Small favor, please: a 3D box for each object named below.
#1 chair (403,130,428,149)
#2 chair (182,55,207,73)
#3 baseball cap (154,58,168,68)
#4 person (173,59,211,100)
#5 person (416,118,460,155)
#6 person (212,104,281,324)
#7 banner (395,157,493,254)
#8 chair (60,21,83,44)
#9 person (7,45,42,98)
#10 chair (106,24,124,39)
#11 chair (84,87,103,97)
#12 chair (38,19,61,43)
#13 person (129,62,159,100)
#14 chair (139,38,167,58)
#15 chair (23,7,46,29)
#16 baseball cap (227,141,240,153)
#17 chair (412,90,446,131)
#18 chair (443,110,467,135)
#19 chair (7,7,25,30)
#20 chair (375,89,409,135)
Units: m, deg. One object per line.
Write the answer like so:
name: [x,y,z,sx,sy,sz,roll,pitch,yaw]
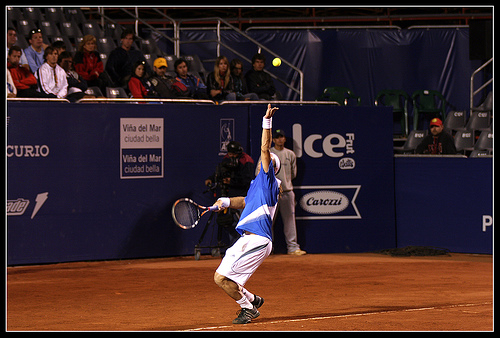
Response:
chair: [5.208,-0.939,21.819,0.607,0.758,0.643,0,-11,20]
chair: [-1.890,-3.494,23.056,0.730,0.545,1.213,-3,10,-14]
baseball cap: [-2.591,-3.034,19.793,0.340,0.273,0.288,-2,11,-11]
person: [-1.761,-2.605,20.062,0.954,1.108,3.025,0,10,-1]
person: [5.366,-0.906,19.793,1.024,0.982,0.488,3,11,16]
person: [0.015,0.968,13.677,1.379,4.285,0.552,-10,14,-41]
banner: [5.454,1.000,18.971,2.597,2.413,0.875,-1,-3,11]
chair: [-6.085,-4.745,23.324,0.690,0.505,0.796,-5,11,-25]
person: [-6.025,-2.567,18.240,0.765,1.310,0.718,-3,11,-16]
chair: [-4.659,-4.711,23.583,0.643,0.463,0.555,3,21,23]
chair: [-4.483,-2.183,19.678,0.501,0.255,0.465,-3,10,-14]
chair: [-6.648,-4.578,22.787,0.672,0.755,1.293,-4,11,-20]
person: [-3.036,-2.499,19.378,0.734,0.980,0.456,-2,11,-11]
chair: [-3.336,-4.062,23.134,0.782,0.558,1.083,-2,10,-10]
chair: [-7.227,-4.997,22.901,0.610,0.805,0.686,-12,-20,-11]
baseball cap: [-0.436,-0.556,17.741,0.304,0.270,0.244,0,10,-2]
chair: [6.338,-2.106,24.410,1.206,1.301,0.820,0,11,0]
chair: [6.920,-1.529,23.292,0.713,1.079,0.801,-1,-8,16]
chair: [-7.762,-4.972,22.637,0.591,0.724,0.618,0,5,-1]
chair: [5.260,-1.972,24.828,1.531,2.189,1.481,0,-4,8]
